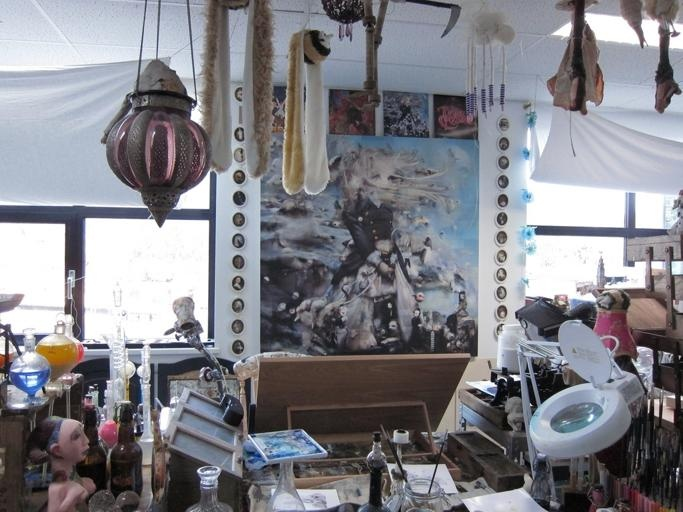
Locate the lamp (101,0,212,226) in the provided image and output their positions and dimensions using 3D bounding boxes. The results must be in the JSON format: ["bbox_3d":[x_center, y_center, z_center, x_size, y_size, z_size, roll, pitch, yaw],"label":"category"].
[{"bbox_3d":[-0.781,-0.478,2.733,0.457,0.697,0.235,-2,2,-10],"label":"lamp"}]

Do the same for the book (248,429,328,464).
[{"bbox_3d":[-0.246,0.891,3.040,0.274,0.052,0.403,-2,2,-24],"label":"book"}]
